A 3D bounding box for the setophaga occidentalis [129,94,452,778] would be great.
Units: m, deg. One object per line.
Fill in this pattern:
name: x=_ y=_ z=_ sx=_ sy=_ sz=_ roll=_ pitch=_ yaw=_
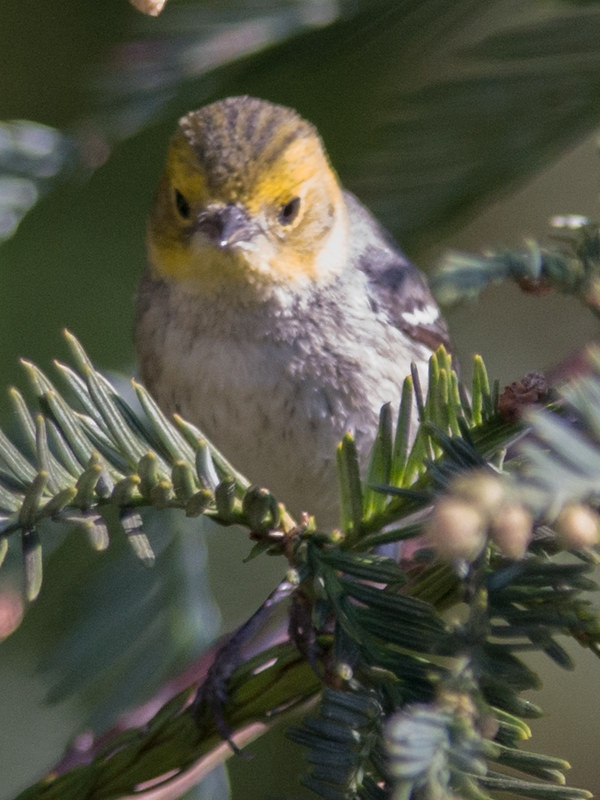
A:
setophaga occidentalis: x=-0.105 y=-0.045 z=0.994 sx=0.365 sy=0.428 sz=0.505 roll=3 pitch=15 yaw=-8
